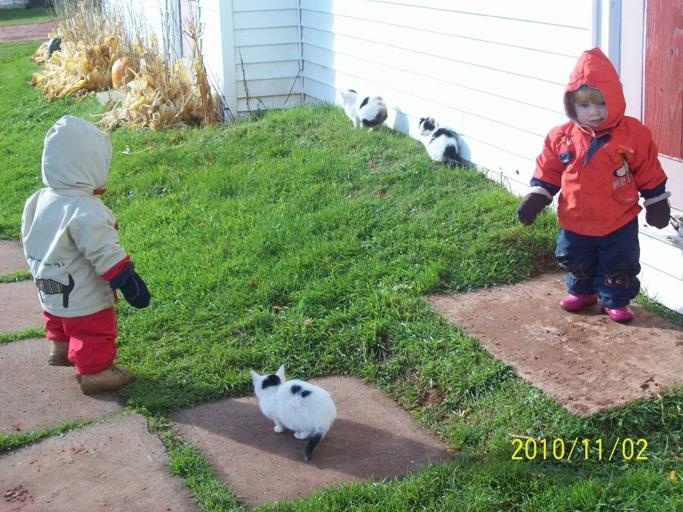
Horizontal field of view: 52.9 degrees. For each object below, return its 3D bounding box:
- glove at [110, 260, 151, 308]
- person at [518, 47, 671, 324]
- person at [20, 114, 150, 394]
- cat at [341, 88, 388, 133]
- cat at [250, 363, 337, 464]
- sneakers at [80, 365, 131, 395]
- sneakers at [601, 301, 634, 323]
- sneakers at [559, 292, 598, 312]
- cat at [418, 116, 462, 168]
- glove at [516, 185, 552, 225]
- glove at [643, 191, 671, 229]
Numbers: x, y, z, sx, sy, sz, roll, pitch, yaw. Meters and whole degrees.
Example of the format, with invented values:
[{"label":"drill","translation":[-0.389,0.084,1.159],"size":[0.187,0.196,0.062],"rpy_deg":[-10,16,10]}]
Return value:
[{"label":"glove","translation":[-1.492,0.223,4.966],"size":[0.209,0.353,0.160],"rpy_deg":[-36,20,13]},{"label":"person","translation":[1.836,-0.505,4.970],"size":[0.970,1.901,0.304],"rpy_deg":[9,21,31]},{"label":"person","translation":[-1.878,-0.019,4.996],"size":[0.694,1.941,0.750],"rpy_deg":[-13,21,-31]},{"label":"cat","translation":[0.349,-1.951,8.939],"size":[0.401,0.492,0.673],"rpy_deg":[-30,47,-27]},{"label":"cat","translation":[-0.300,1.003,4.458],"size":[0.333,0.360,0.729],"rpy_deg":[-13,14,-36]},{"label":"sneakers","translation":[-1.718,0.909,5.072],"size":[0.352,0.163,0.169],"rpy_deg":[-17,33,-37]},{"label":"sneakers","translation":[2.028,0.407,5.060],"size":[0.109,0.088,0.217],"rpy_deg":[-7,9,-5]},{"label":"sneakers","translation":[1.787,0.328,5.274],"size":[0.305,0.138,0.116],"rpy_deg":[-8,26,-20]},{"label":"cat","translation":[1.129,-1.311,7.821],"size":[0.371,0.494,0.641],"rpy_deg":[-6,18,-12]},{"label":"glove","translation":[1.419,-0.389,5.225],"size":[0.236,0.278,0.108],"rpy_deg":[41,2,-10]},{"label":"glove","translation":[2.264,-0.331,4.906],"size":[0.181,0.231,0.090],"rpy_deg":[-3,16,32]}]
